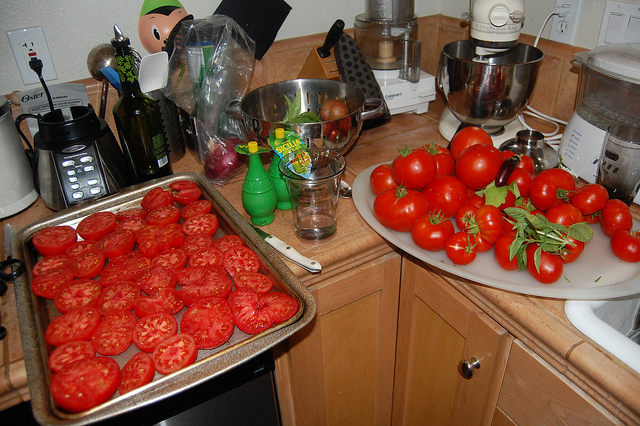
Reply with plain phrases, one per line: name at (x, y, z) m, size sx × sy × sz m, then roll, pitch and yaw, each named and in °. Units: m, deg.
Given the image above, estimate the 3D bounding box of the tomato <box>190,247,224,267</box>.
tomato at (-0.277, 0.109, 1.100) m, size 0.087 × 0.023 × 0.051 m, roll 1°, pitch 32°, yaw 6°

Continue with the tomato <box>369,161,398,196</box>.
tomato at (0.167, -0.093, 1.208) m, size 0.078 × 0.094 × 0.078 m, roll 8°, pitch 12°, yaw 28°

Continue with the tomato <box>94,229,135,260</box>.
tomato at (-0.517, 0.087, 1.157) m, size 0.086 × 0.054 × 0.090 m, roll 15°, pitch 47°, yaw 42°

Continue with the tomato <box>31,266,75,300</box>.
tomato at (-0.645, 0.163, 1.065) m, size 0.042 × 0.070 × 0.071 m, roll 1°, pitch 0°, yaw 33°

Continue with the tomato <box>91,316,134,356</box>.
tomato at (-0.452, 0.269, 0.976) m, size 0.086 × 0.041 × 0.079 m, roll -7°, pitch 32°, yaw -7°

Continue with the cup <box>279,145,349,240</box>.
cup at (-0.030, -0.038, 1.213) m, size 0.199 × 0.237 × 0.184 m, roll -4°, pitch 25°, yaw 2°

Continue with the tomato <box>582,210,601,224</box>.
tomato at (0.677, 0.014, 1.109) m, size 0.032 × 0.032 × 0.032 m, roll -2°, pitch 42°, yaw 1°

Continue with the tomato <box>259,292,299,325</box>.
tomato at (-0.092, 0.206, 0.979) m, size 0.067 × 0.023 × 0.089 m, roll -26°, pitch 38°, yaw -33°

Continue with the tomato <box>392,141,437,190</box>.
tomato at (0.253, -0.120, 1.189) m, size 0.122 × 0.124 × 0.129 m, roll 7°, pitch 22°, yaw 38°

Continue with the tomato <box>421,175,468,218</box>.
tomato at (0.318, -0.042, 1.178) m, size 0.101 × 0.105 × 0.108 m, roll -43°, pitch 63°, yaw 1°

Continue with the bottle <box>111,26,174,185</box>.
bottle at (-0.511, -0.297, 1.269) m, size 0.113 × 0.427 × 0.157 m, roll 3°, pitch 32°, yaw 11°

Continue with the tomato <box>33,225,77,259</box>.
tomato at (-0.681, 0.082, 1.163) m, size 0.098 × 0.056 × 0.096 m, roll -20°, pitch 40°, yaw -34°

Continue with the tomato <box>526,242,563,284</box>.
tomato at (0.501, 0.126, 1.015) m, size 0.079 × 0.059 × 0.060 m, roll 21°, pitch 55°, yaw -23°

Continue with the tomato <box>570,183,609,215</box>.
tomato at (0.655, -0.035, 1.082) m, size 0.074 × 0.043 × 0.078 m, roll -26°, pitch 19°, yaw 24°

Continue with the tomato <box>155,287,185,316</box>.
tomato at (-0.353, 0.198, 1.025) m, size 0.065 × 0.093 × 0.018 m, roll -1°, pitch 33°, yaw -2°

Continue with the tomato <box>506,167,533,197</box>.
tomato at (0.505, -0.081, 1.173) m, size 0.070 × 0.077 × 0.073 m, roll -5°, pitch 5°, yaw 0°

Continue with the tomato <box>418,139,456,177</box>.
tomato at (0.331, -0.144, 1.256) m, size 0.099 × 0.101 × 0.102 m, roll 12°, pitch 36°, yaw 40°

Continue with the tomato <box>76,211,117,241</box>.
tomato at (-0.608, 0.031, 1.208) m, size 0.117 × 0.072 × 0.118 m, roll 1°, pitch 2°, yaw -5°

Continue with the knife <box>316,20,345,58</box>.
knife at (0.029, -0.542, 1.396) m, size 0.087 × 0.114 × 0.066 m, roll -2°, pitch 31°, yaw 2°

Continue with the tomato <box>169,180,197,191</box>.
tomato at (-0.391, -0.079, 1.280) m, size 0.046 × 0.012 × 0.036 m, roll 7°, pitch 34°, yaw 4°

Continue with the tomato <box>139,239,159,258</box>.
tomato at (-0.428, 0.088, 1.122) m, size 0.043 × 0.032 × 0.041 m, roll 29°, pitch 44°, yaw 28°

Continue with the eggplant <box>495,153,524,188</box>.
eggplant at (0.469, -0.108, 1.101) m, size 0.033 × 0.030 × 0.126 m, roll 26°, pitch 53°, yaw 17°

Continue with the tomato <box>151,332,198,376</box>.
tomato at (-0.302, 0.292, 0.934) m, size 0.092 × 0.034 × 0.080 m, roll -18°, pitch 34°, yaw -23°

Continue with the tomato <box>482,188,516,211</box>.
tomato at (0.460, -0.030, 1.148) m, size 0.055 × 0.055 × 0.055 m, roll -45°, pitch 26°, yaw -2°

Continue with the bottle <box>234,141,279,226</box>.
bottle at (-0.165, -0.083, 1.187) m, size 0.094 × 0.217 × 0.098 m, roll -2°, pitch 31°, yaw 1°

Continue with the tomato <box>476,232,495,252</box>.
tomato at (0.389, 0.071, 1.072) m, size 0.044 × 0.042 × 0.043 m, roll 2°, pitch 7°, yaw 1°

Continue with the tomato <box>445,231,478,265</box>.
tomato at (0.329, 0.085, 1.043) m, size 0.073 × 0.072 × 0.069 m, roll -21°, pitch 3°, yaw -20°

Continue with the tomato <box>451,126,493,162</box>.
tomato at (0.409, -0.197, 1.228) m, size 0.091 × 0.100 × 0.099 m, roll 11°, pitch 1°, yaw 8°

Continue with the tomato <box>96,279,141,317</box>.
tomato at (-0.466, 0.196, 1.037) m, size 0.094 × 0.031 × 0.085 m, roll -13°, pitch 33°, yaw -16°

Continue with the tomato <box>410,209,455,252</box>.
tomato at (0.268, 0.043, 1.077) m, size 0.098 × 0.098 × 0.098 m, roll -3°, pitch 18°, yaw 1°

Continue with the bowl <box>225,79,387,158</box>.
bowl at (-0.008, -0.277, 1.334) m, size 0.451 × 0.167 × 0.357 m, roll -22°, pitch 36°, yaw -28°

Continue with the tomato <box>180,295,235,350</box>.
tomato at (-0.244, 0.240, 0.982) m, size 0.111 × 0.047 × 0.124 m, roll -25°, pitch 38°, yaw -32°

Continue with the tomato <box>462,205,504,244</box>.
tomato at (0.397, 0.027, 1.111) m, size 0.089 × 0.085 × 0.089 m, roll -18°, pitch -9°, yaw -3°

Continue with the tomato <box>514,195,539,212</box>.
tomato at (0.505, -0.023, 1.103) m, size 0.039 × 0.039 × 0.038 m, roll -37°, pitch 8°, yaw 9°

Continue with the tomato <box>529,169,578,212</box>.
tomato at (0.568, -0.058, 1.096) m, size 0.103 × 0.102 × 0.102 m, roll -18°, pitch 18°, yaw -20°

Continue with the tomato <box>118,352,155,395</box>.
tomato at (-0.377, 0.328, 0.912) m, size 0.080 × 0.023 × 0.072 m, roll -27°, pitch 39°, yaw -33°

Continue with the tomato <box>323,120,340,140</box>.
tomato at (0.029, -0.231, 1.242) m, size 0.040 × 0.043 × 0.041 m, roll -8°, pitch 35°, yaw -9°

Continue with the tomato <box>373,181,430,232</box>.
tomato at (0.210, -0.017, 1.181) m, size 0.122 × 0.121 × 0.122 m, roll 11°, pitch 25°, yaw 28°

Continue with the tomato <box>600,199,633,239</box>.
tomato at (0.705, 0.018, 1.069) m, size 0.057 × 0.059 × 0.056 m, roll 31°, pitch 66°, yaw 14°
